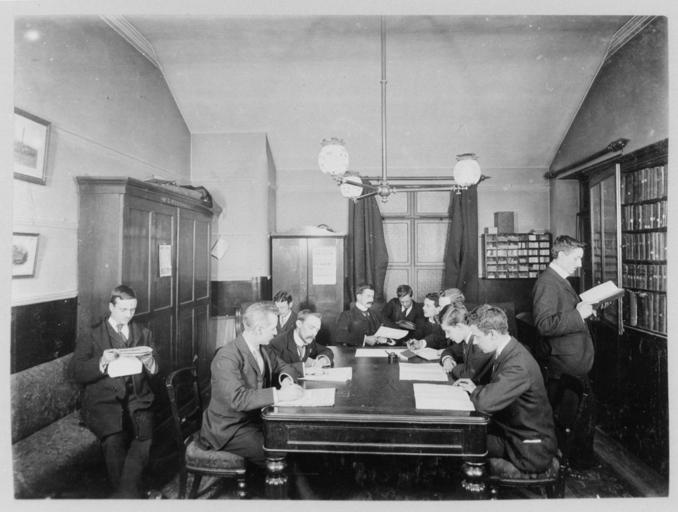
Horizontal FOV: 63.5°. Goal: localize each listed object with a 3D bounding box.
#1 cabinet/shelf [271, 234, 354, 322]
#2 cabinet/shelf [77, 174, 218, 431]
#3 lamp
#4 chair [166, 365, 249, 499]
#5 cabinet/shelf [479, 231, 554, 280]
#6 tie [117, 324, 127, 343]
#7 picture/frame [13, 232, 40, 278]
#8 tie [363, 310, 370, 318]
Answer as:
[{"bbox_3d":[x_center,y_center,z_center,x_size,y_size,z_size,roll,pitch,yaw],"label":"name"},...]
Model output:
[{"bbox_3d":[-0.332,0.263,6.137,0.800,1.437,0.461,6,31,5],"label":"cabinet/shelf"},{"bbox_3d":[-1.731,0.402,5.131,0.491,2.048,1.522,2,2,15],"label":"cabinet/shelf"},{"bbox_3d":[0.629,-1.471,5.216,1.410,1.963,1.175,0,-5,-7],"label":"lamp"},{"bbox_3d":[-0.937,1.334,4.163,0.667,1.009,0.699,-6,5,-21],"label":"chair"},{"bbox_3d":[1.920,-0.035,5.892,0.648,0.504,0.232,-1,19,21],"label":"cabinet/shelf"},{"bbox_3d":[-1.781,0.638,4.519,0.071,0.127,0.027,-6,5,-41],"label":"tie"},{"bbox_3d":[-2.360,-0.003,4.121,0.165,0.336,0.054,0,-1,-34],"label":"picture/frame"},{"bbox_3d":[0.283,0.596,5.520,0.059,0.059,0.014,4,-5,-31],"label":"tie"}]
